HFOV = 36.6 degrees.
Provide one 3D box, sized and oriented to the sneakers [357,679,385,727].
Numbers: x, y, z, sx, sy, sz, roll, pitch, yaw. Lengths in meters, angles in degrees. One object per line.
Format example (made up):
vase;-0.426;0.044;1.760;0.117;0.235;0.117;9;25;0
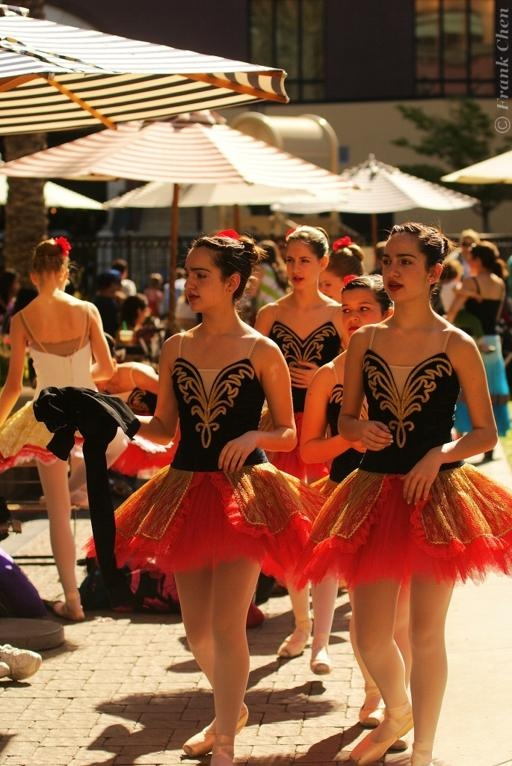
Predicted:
sneakers;0.425;1.186;2.825;0.068;0.135;0.193;-4;-15;2

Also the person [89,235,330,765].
person;-0.062;0.401;2.615;0.713;1.803;0.701;-9;10;-36
